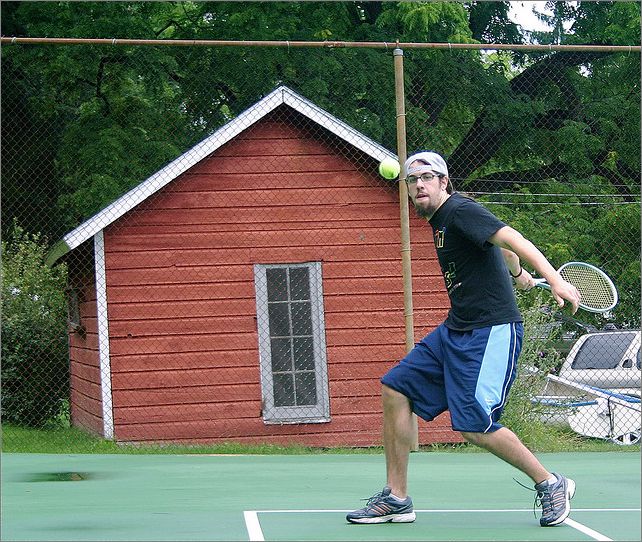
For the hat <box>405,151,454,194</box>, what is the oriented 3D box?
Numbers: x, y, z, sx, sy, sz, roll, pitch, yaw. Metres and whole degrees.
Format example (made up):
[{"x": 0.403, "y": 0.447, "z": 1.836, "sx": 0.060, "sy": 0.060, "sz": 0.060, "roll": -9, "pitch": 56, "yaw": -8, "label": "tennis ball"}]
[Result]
[{"x": 0.792, "y": -0.765, "z": 7.352, "sx": 0.366, "sy": 0.176, "sz": 0.263, "roll": 23, "pitch": -1, "yaw": -3, "label": "hat"}]

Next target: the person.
[{"x": 1.040, "y": 0.474, "z": 7.147, "sx": 1.477, "sy": 2.760, "sz": 0.388, "roll": -4, "pitch": -3, "yaw": 17, "label": "person"}]

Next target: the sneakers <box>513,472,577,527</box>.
[{"x": 1.674, "y": 1.635, "z": 7.068, "sx": 0.277, "sy": 0.382, "sz": 0.219, "roll": -3, "pitch": -3, "yaw": 5, "label": "sneakers"}]

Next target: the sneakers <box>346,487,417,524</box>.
[{"x": 0.452, "y": 1.741, "z": 7.273, "sx": 0.587, "sy": 0.276, "sz": 0.206, "roll": 1, "pitch": -9, "yaw": -5, "label": "sneakers"}]
